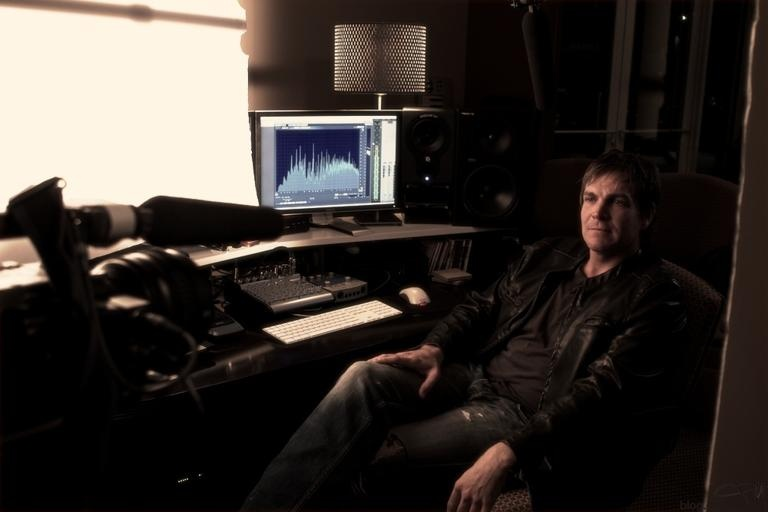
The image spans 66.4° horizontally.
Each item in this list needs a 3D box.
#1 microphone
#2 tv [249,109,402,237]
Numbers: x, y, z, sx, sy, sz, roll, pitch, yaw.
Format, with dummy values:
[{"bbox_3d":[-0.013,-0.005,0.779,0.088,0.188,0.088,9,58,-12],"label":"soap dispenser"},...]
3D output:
[{"bbox_3d":[-0.212,-0.034,0.739,0.163,0.062,0.070,2,-4,-12],"label":"microphone"},{"bbox_3d":[-0.210,-0.312,2.063,0.550,0.365,0.173,0,3,-21],"label":"tv"}]
